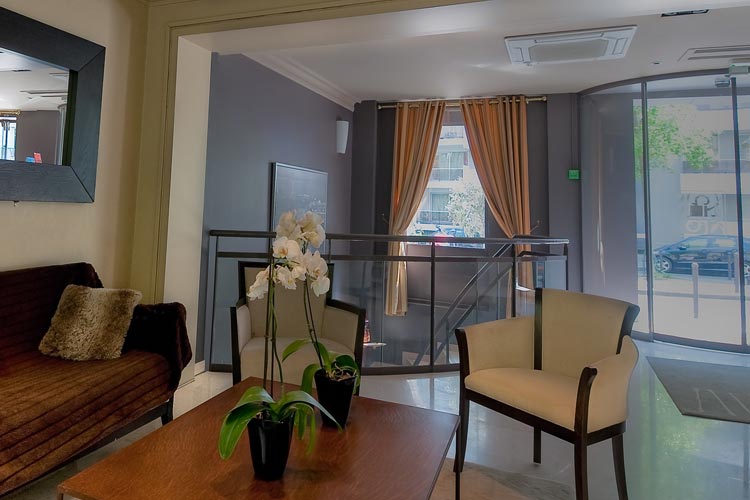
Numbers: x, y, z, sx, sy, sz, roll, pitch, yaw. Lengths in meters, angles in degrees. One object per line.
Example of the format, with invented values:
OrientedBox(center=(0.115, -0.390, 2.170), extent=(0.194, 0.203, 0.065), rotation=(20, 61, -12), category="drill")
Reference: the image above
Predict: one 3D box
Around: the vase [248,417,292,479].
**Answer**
OrientedBox(center=(-0.515, 1.032, 2.757), extent=(0.275, 0.322, 0.283), rotation=(0, -4, 9), category="vase")

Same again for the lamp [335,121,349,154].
OrientedBox(center=(-0.461, -1.565, 7.071), extent=(0.170, 0.443, 0.512), rotation=(1, 6, -6), category="lamp")

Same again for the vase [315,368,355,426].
OrientedBox(center=(-0.184, 0.864, 3.037), extent=(0.269, 0.347, 0.287), rotation=(-1, -5, 9), category="vase")

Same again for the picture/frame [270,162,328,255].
OrientedBox(center=(-0.746, -0.437, 4.746), extent=(0.079, 0.800, 1.114), rotation=(0, -2, 25), category="picture/frame")

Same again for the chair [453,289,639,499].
OrientedBox(center=(1.187, 1.047, 3.452), extent=(0.809, 1.389, 1.149), rotation=(10, -8, -39), category="chair")

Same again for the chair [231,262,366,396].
OrientedBox(center=(-0.665, 0.740, 4.110), extent=(0.956, 1.317, 0.923), rotation=(4, -5, -14), category="chair")
